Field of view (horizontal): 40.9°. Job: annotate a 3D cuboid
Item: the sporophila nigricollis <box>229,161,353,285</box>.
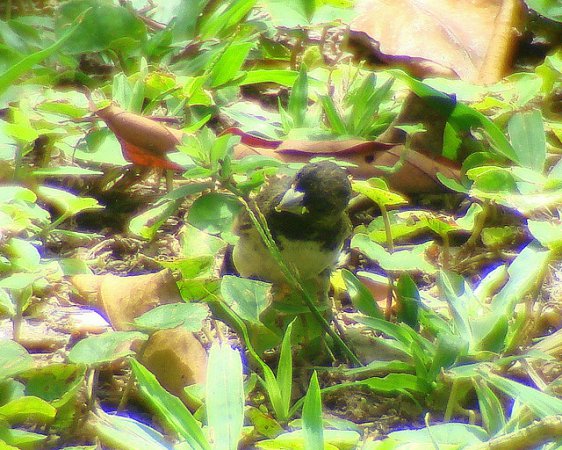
[{"bbox_3d":[0.014,-0.008,1.181,0.187,0.180,0.166,20,50,13],"label":"sporophila nigricollis"}]
